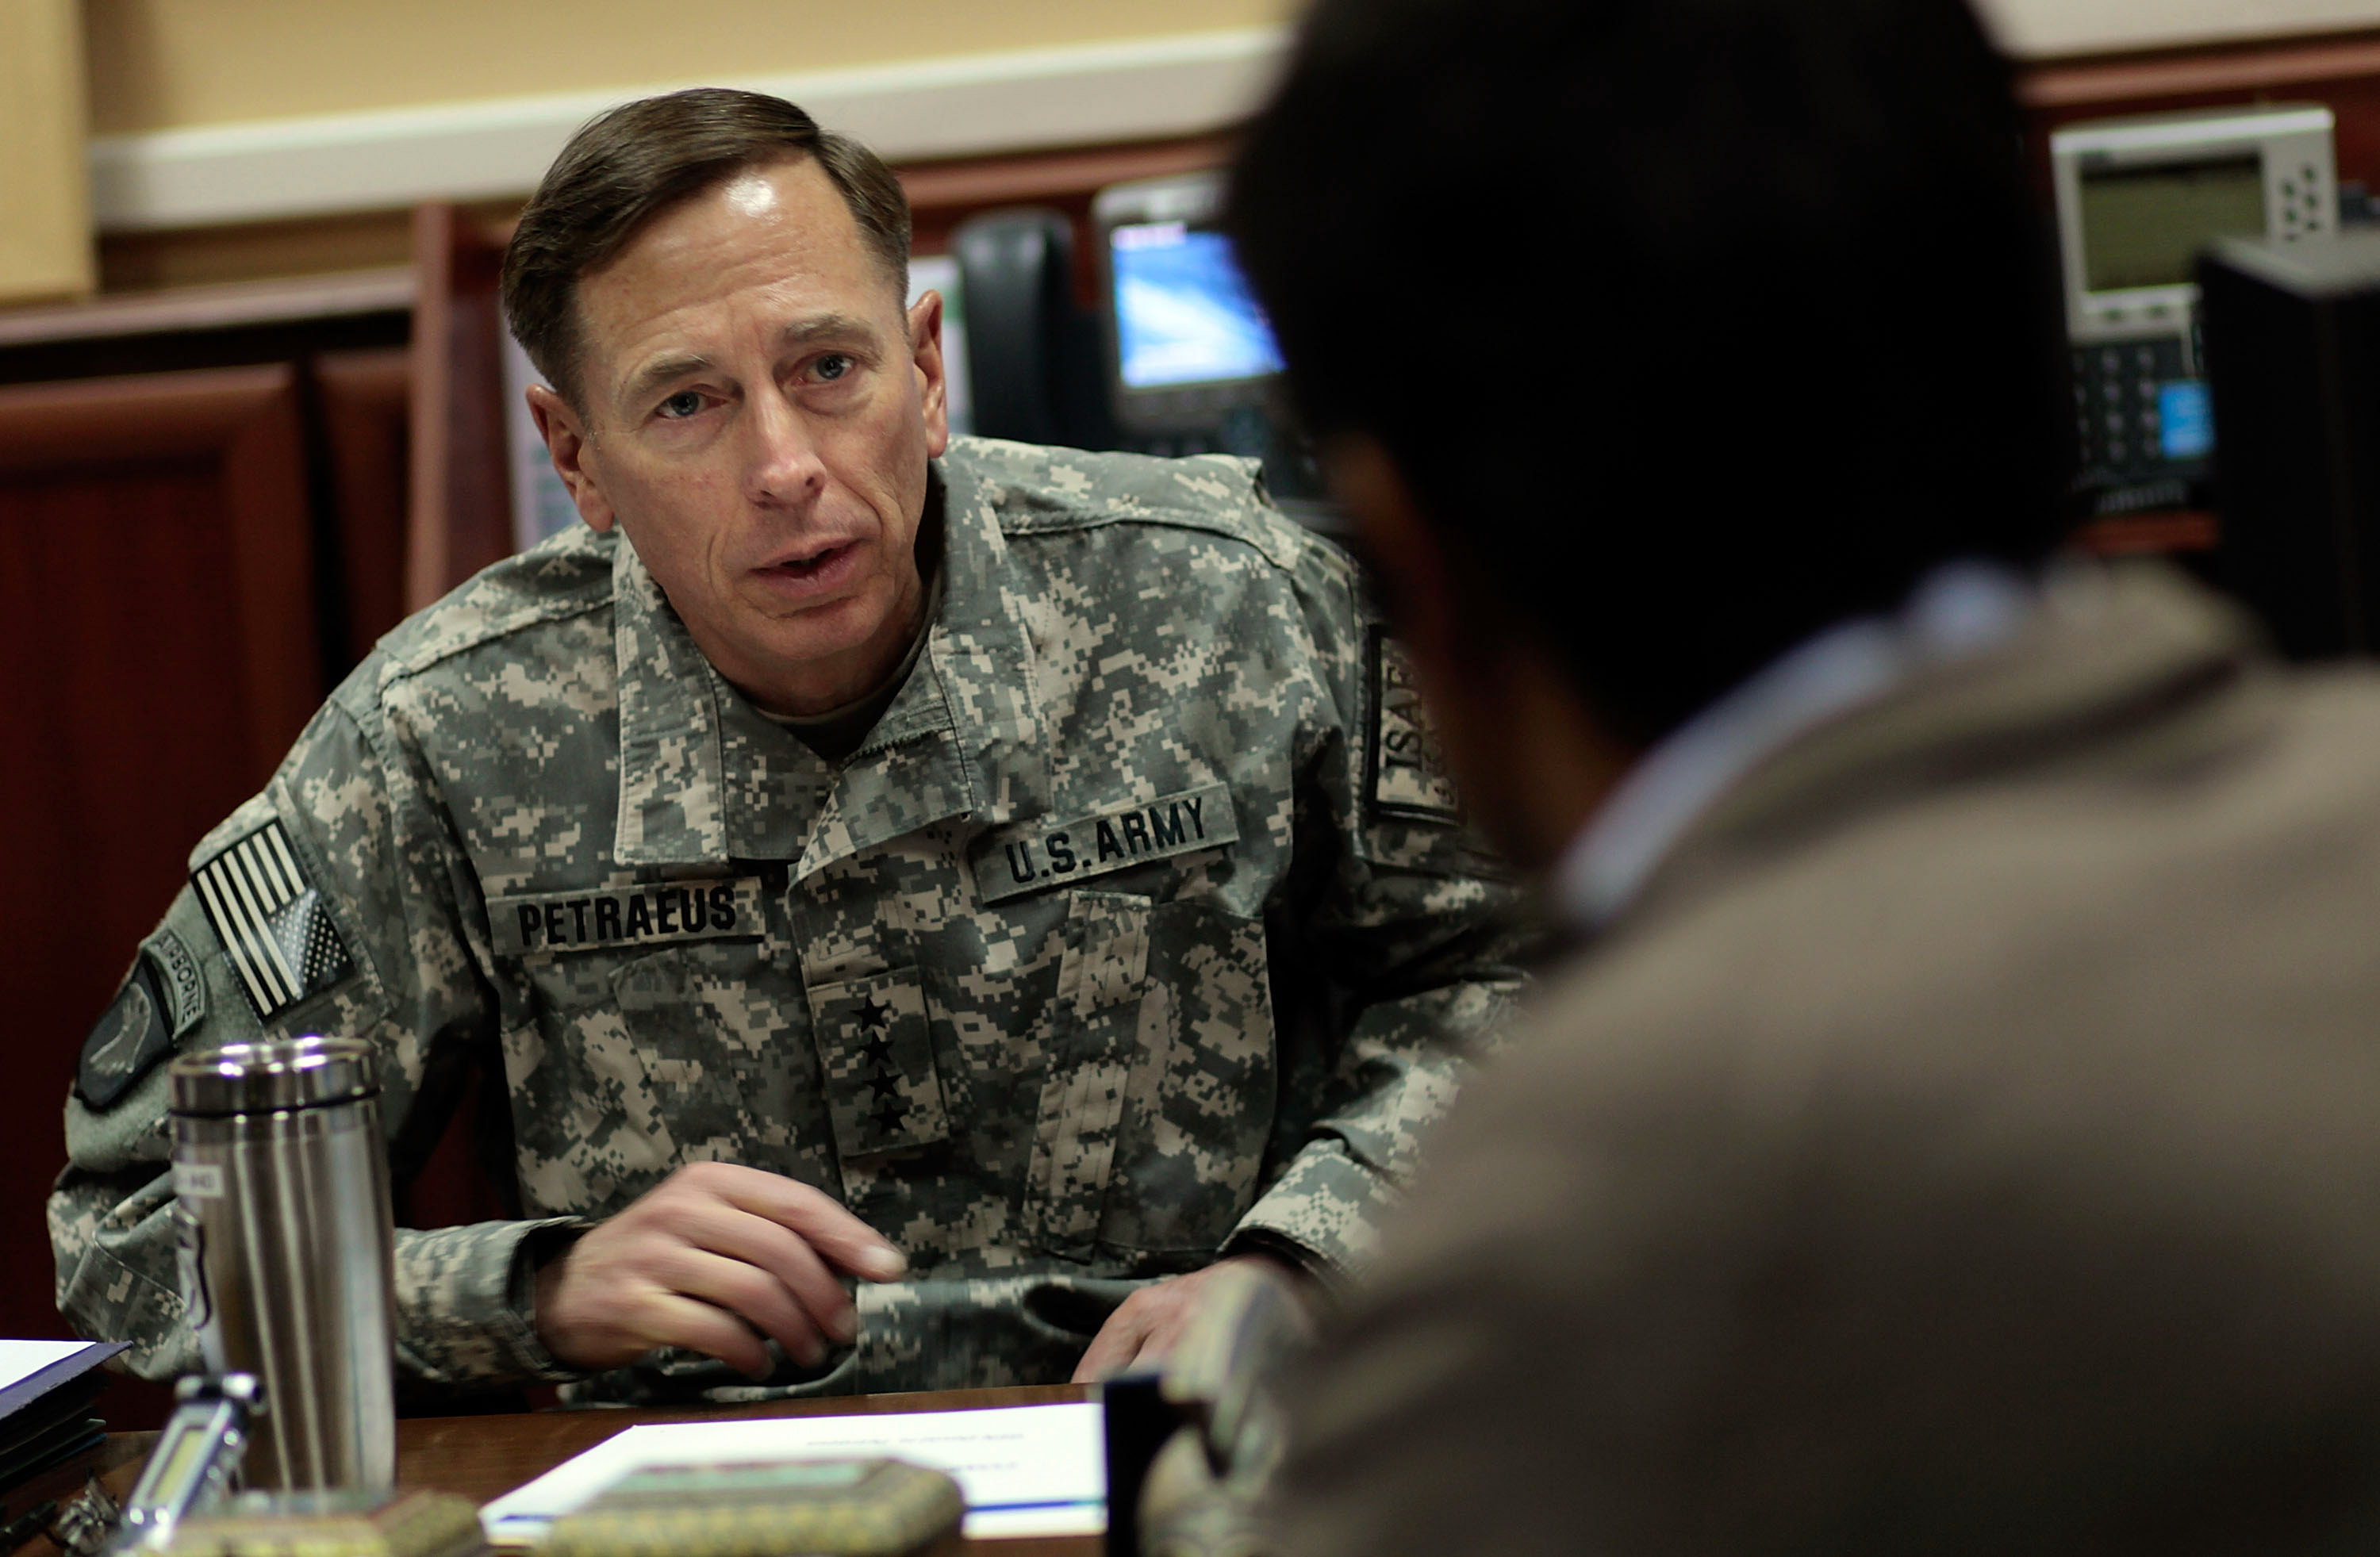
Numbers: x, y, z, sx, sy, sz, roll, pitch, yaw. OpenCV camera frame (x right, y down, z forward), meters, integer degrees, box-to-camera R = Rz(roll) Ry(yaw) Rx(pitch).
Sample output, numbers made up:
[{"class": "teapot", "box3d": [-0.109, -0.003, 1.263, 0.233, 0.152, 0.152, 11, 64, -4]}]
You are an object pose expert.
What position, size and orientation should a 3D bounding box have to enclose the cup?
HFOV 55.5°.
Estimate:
[{"class": "cup", "box3d": [-0.455, 0.255, 1.155, 0.100, 0.235, 0.060, -9, 7, -25]}]
